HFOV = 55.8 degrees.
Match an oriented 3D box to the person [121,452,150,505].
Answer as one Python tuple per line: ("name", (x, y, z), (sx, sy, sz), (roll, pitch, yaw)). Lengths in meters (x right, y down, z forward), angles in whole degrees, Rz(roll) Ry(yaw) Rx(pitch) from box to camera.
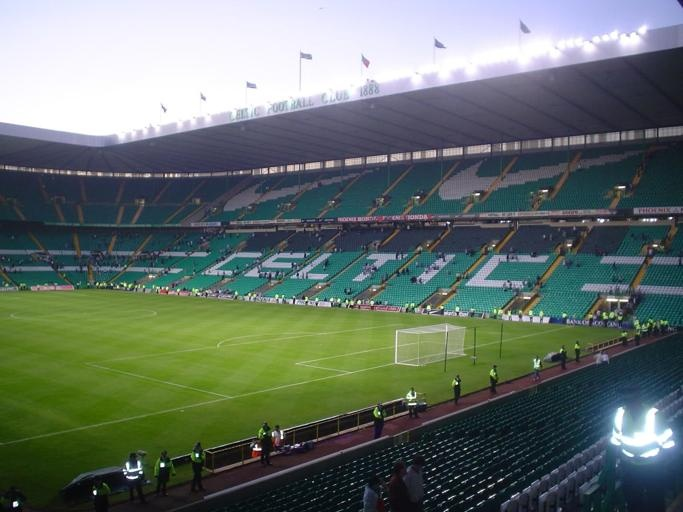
("person", (-7.092, 7.553, 22.096), (0.659, 1.597, 1.072), (-4, 0, -19))

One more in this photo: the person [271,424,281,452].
("person", (-2.532, 7.112, 25.125), (0.430, 0.921, 0.290), (-5, 0, 14))

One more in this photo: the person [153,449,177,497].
("person", (-6.133, 7.456, 22.287), (0.625, 1.494, 1.045), (-4, 0, -15))

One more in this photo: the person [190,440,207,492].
("person", (-5.075, 7.349, 22.660), (0.506, 1.680, 1.204), (-5, 0, -13))

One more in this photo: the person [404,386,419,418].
("person", (3.073, 6.424, 28.269), (0.493, 1.351, 0.859), (-5, -1, 4))
